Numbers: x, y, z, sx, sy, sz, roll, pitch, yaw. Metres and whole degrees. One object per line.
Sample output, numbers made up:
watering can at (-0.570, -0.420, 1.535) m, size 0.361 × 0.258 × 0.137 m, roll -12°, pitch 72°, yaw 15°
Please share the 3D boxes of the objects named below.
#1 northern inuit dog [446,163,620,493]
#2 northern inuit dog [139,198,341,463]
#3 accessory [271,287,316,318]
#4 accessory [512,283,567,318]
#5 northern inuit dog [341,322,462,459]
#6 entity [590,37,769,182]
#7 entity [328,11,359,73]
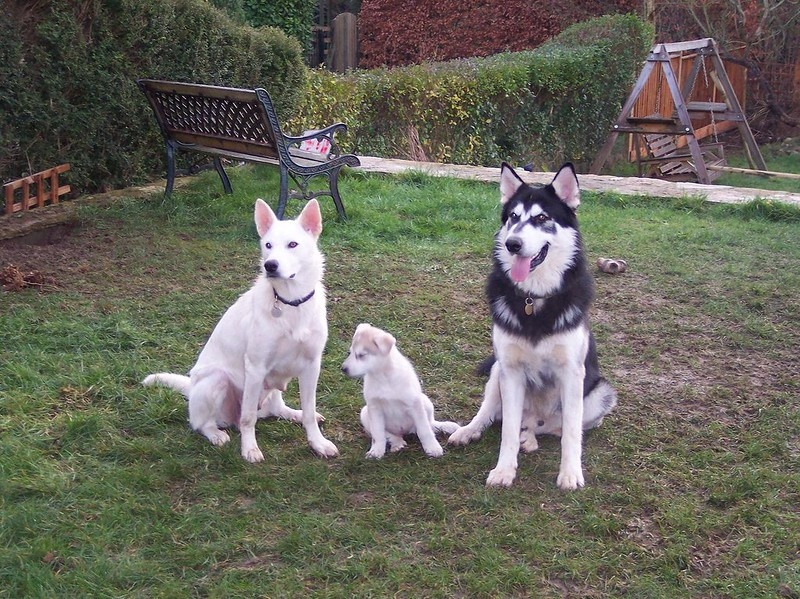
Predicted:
northern inuit dog at (1.077, 0.147, 6.267) m, size 1.078 × 2.331 × 1.215 m, roll 1°, pitch 16°, yaw 13°
northern inuit dog at (-1.138, 0.256, 6.296) m, size 1.171 × 1.986 × 0.704 m, roll -5°, pitch 15°, yaw -11°
accessory at (-0.831, 0.022, 6.214) m, size 0.244 × 0.227 × 0.191 m, roll 6°, pitch -4°, yaw -44°
accessory at (1.056, 0.005, 6.219) m, size 0.337 × 0.208 × 0.166 m, roll 0°, pitch 16°, yaw 10°
northern inuit dog at (0.010, 0.694, 6.488) m, size 0.705 × 1.103 × 0.993 m, roll 5°, pitch 19°, yaw 41°
entity at (5.725, -3.777, 16.345) m, size 2.559 × 2.965 × 3.029 m, roll 10°, pitch 20°, yaw 38°
entity at (-1.641, -7.474, 23.249) m, size 0.917 × 1.576 × 0.628 m, roll -1°, pitch 15°, yaw 4°
